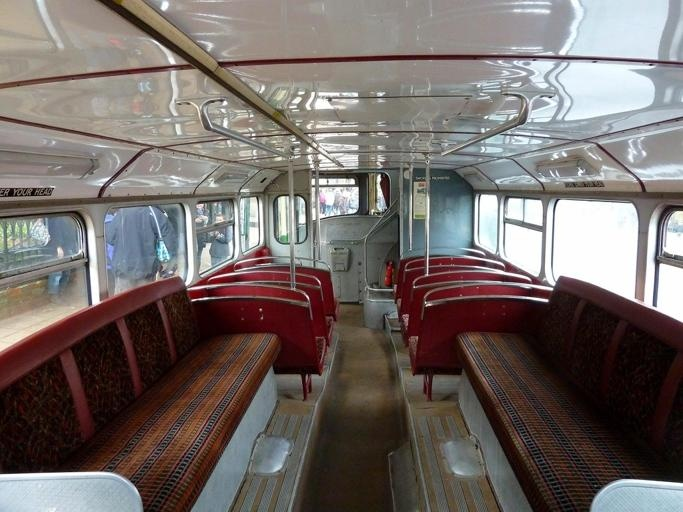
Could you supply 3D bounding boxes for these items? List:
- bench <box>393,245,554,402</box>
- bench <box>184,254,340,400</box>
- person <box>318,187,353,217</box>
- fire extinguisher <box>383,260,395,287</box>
[{"bbox_3d":[1.448,0.618,5.113,1.592,1.558,1.107,0,-87,11],"label":"bench"},{"bbox_3d":[-0.821,0.843,5.297,1.719,1.678,1.157,0,-81,-1],"label":"bench"},{"bbox_3d":[-0.115,-1.185,9.574,0.748,0.429,0.549,-6,-62,9],"label":"person"},{"bbox_3d":[0.995,0.406,9.334,0.258,0.152,0.474,1,-96,39],"label":"fire extinguisher"}]
